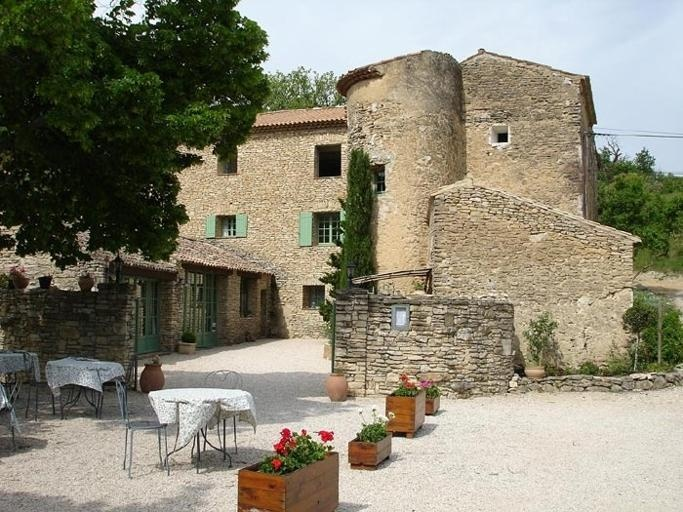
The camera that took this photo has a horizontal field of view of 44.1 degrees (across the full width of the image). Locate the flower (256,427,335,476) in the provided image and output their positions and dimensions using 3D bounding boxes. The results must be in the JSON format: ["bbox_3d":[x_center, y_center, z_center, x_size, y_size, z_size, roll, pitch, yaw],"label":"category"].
[{"bbox_3d":[-0.658,3.102,13.438,0.716,0.422,1.030,-4,4,4],"label":"flower"}]

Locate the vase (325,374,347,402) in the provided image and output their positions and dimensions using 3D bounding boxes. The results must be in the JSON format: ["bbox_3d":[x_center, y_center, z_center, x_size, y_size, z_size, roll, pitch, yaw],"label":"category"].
[{"bbox_3d":[-0.056,3.099,19.598,0.550,0.666,0.396,1,-7,-19],"label":"vase"}]

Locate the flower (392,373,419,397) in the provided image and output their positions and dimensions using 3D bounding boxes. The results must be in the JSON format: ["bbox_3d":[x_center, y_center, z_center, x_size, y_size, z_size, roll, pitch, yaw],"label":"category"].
[{"bbox_3d":[1.402,2.744,17.447,0.507,0.229,0.711,1,-2,8],"label":"flower"}]

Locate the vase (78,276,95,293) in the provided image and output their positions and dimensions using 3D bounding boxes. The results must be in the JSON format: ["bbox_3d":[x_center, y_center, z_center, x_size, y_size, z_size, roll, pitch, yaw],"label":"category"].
[{"bbox_3d":[-6.309,0.724,20.734,0.395,0.328,0.392,3,4,31],"label":"vase"}]

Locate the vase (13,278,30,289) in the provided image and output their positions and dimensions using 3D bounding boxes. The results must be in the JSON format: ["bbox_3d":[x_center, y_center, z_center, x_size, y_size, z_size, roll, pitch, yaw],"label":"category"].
[{"bbox_3d":[-8.161,0.713,21.305,0.344,0.295,0.261,2,-8,-24],"label":"vase"}]

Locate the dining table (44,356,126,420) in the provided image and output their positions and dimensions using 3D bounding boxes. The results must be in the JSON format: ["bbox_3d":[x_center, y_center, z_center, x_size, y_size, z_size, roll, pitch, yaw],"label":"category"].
[{"bbox_3d":[-5.323,2.564,17.669,1.568,0.976,1.520,3,3,2],"label":"dining table"}]

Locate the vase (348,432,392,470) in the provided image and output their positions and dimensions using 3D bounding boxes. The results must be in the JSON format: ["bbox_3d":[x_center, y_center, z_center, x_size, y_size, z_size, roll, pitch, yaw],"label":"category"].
[{"bbox_3d":[0.514,3.678,15.062,0.477,0.417,0.934,-2,-6,15],"label":"vase"}]

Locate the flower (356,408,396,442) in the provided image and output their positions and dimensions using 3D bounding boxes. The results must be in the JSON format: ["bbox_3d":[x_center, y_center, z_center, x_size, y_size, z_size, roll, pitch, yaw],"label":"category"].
[{"bbox_3d":[0.628,3.198,15.427,0.751,0.768,0.846,1,-7,4],"label":"flower"}]

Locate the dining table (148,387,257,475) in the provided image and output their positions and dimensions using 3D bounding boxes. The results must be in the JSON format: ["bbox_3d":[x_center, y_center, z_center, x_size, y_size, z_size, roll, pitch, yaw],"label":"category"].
[{"bbox_3d":[-2.537,2.928,15.180,1.738,1.118,1.533,1,0,-23],"label":"dining table"}]

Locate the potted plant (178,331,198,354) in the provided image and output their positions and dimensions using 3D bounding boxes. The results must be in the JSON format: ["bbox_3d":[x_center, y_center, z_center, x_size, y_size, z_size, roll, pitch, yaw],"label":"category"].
[{"bbox_3d":[-4.718,2.704,25.726,0.643,0.784,0.613,2,-3,-21],"label":"potted plant"}]

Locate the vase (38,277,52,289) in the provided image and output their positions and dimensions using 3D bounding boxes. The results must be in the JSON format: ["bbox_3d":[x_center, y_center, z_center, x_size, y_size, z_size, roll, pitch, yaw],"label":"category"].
[{"bbox_3d":[-7.401,0.706,20.902,0.324,0.237,0.324,-8,-11,40],"label":"vase"}]

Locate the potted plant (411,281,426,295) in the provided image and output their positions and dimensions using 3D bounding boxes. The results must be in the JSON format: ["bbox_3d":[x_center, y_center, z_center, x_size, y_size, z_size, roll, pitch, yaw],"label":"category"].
[{"bbox_3d":[2.321,0.977,25.007,0.394,0.265,0.394,0,0,18],"label":"potted plant"}]

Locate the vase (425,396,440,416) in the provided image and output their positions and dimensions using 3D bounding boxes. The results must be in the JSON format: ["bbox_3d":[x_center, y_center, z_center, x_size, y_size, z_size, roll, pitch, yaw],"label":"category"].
[{"bbox_3d":[2.053,3.340,18.561,0.183,0.418,0.597,-5,-8,26],"label":"vase"}]

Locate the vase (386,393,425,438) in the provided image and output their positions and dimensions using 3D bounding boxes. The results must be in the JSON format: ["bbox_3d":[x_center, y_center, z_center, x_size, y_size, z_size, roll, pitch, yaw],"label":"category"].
[{"bbox_3d":[1.318,3.236,16.873,0.683,0.841,1.258,0,-4,17],"label":"vase"}]

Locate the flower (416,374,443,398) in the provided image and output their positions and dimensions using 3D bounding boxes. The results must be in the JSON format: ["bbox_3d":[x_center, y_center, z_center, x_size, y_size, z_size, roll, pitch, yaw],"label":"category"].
[{"bbox_3d":[1.993,2.980,18.861,0.568,0.458,0.649,-3,-4,13],"label":"flower"}]
